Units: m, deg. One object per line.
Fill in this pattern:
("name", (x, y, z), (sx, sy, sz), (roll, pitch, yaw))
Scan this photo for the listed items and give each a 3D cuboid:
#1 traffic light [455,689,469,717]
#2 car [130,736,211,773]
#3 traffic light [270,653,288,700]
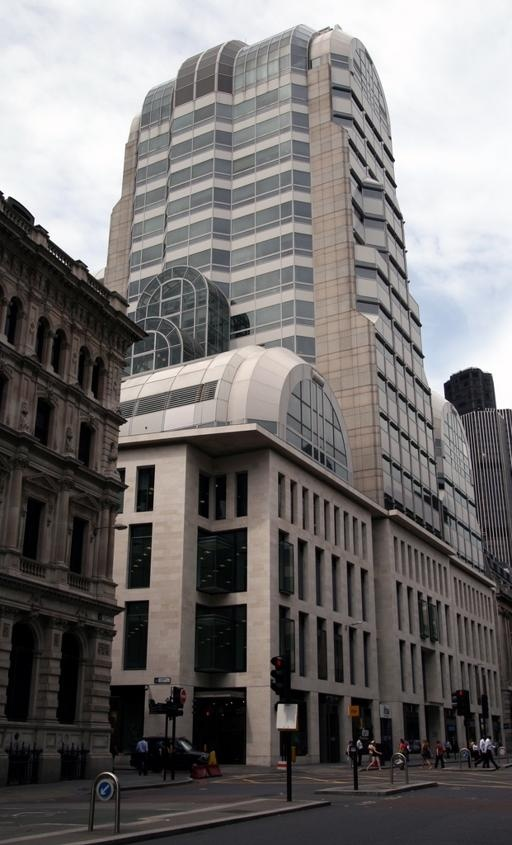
("traffic light", (11.095, 14.968, 35.785), (0.624, 1.242, 2.221), (-6, -23, 14))
("car", (-3.944, 15.076, 30.364), (2.422, 1.336, 4.929), (12, -26, -27))
("traffic light", (0.529, 5.633, 14.787), (0.362, 0.894, 0.912), (-1, -21, 3))
